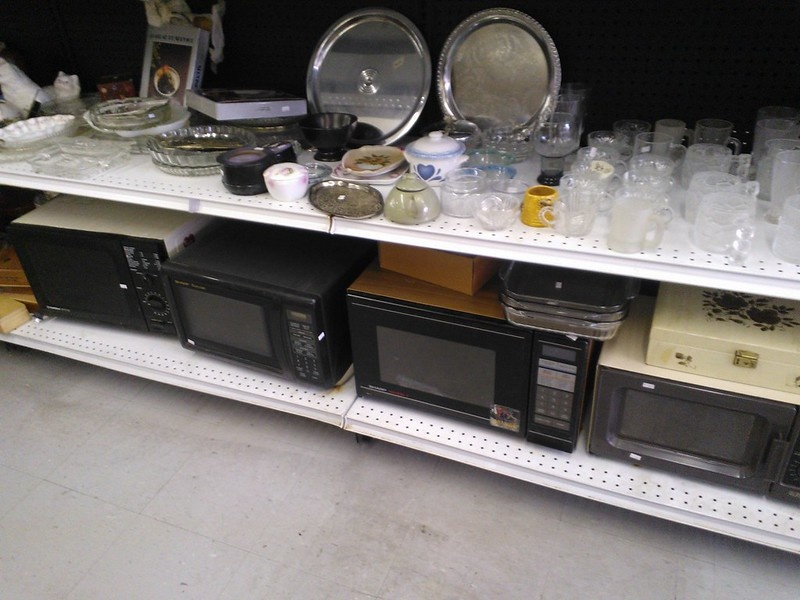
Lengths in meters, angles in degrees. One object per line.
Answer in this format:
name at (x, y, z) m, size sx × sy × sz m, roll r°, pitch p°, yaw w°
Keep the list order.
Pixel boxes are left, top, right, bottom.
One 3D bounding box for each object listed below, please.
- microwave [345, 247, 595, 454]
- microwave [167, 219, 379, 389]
microwave at (0.302, 0.177, 2.043) m, size 0.823 × 0.415 × 0.415 m, roll 11°, pitch 28°, yaw 34°
microwave at (-0.462, 0.008, 2.231) m, size 0.706 × 0.427 × 0.436 m, roll 14°, pitch 42°, yaw 22°
